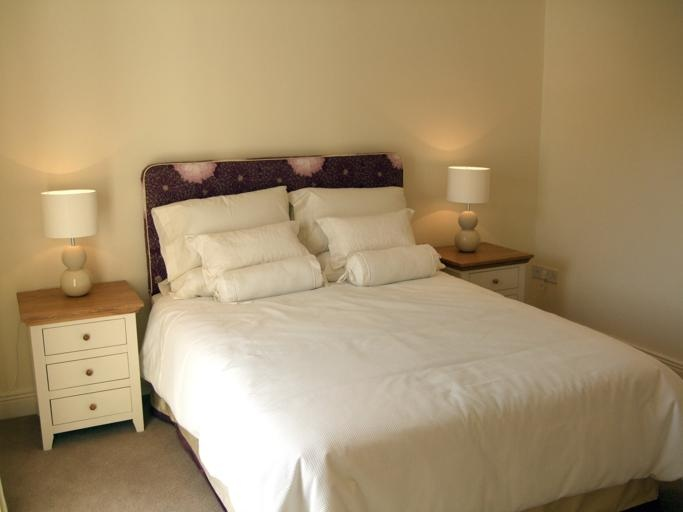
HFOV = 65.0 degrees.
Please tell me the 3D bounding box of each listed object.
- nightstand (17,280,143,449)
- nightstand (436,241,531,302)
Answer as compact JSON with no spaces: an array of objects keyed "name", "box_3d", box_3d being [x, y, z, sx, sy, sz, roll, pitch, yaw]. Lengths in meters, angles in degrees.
[{"name":"nightstand","box_3d":[-1.567,0.630,3.334,0.591,0.865,0.527,-3,21,-23]},{"name":"nightstand","box_3d":[1.058,0.061,4.057,0.524,0.702,0.430,-11,18,-35]}]
